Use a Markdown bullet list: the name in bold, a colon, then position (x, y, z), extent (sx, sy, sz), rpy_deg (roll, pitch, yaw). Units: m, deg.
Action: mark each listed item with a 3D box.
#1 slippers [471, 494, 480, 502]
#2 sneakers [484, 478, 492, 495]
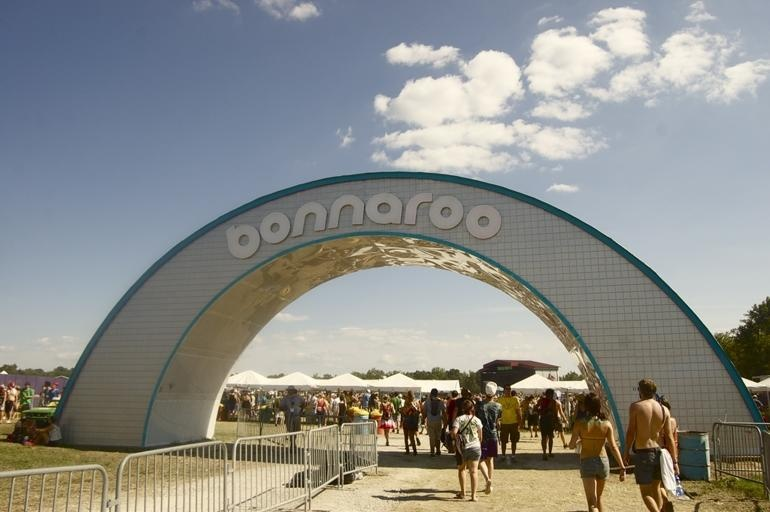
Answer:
- **slippers**: position (1.952, 5.261, 10.297), extent (0.174, 0.115, 0.283), rpy_deg (-18, -28, 24)
- **sneakers**: position (2.366, 5.264, 10.797), extent (0.152, 0.350, 0.155), rpy_deg (0, 12, -1)
